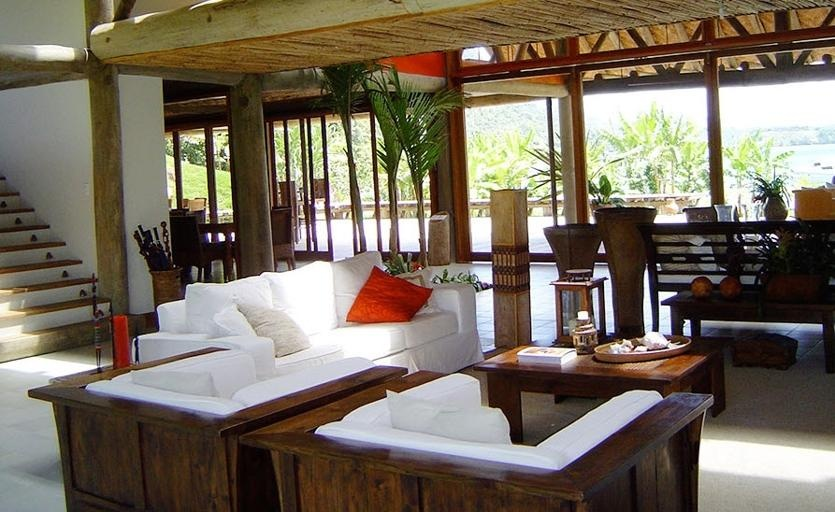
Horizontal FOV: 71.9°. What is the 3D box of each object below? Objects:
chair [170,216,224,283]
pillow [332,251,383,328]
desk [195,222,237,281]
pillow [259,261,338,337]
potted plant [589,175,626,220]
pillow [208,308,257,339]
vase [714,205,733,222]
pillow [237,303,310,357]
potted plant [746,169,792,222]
[{"bbox_3d":[-3.747,-0.131,9.929,0.783,0.965,0.766,0,5,15],"label":"chair"},{"bbox_3d":[-0.633,0.279,5.648,0.215,0.588,0.717,-5,5,34],"label":"pillow"},{"bbox_3d":[-3.639,-0.042,10.540,0.855,0.794,0.947,-4,1,-12],"label":"desk"},{"bbox_3d":[-1.055,0.412,5.208,0.240,0.479,0.687,5,13,40],"label":"pillow"},{"bbox_3d":[3.543,-1.126,10.917,0.665,0.522,0.905,-9,-27,45],"label":"potted plant"},{"bbox_3d":[-1.473,0.531,4.652,0.277,0.247,0.182,0,13,17],"label":"pillow"},{"bbox_3d":[3.903,-0.546,7.343,0.299,0.221,0.313,0,3,20],"label":"vase"},{"bbox_3d":[-1.178,0.575,4.940,0.195,0.534,0.653,-21,3,-43],"label":"pillow"},{"bbox_3d":[4.641,-0.783,7.580,0.570,0.569,0.567,-7,1,24],"label":"potted plant"}]
